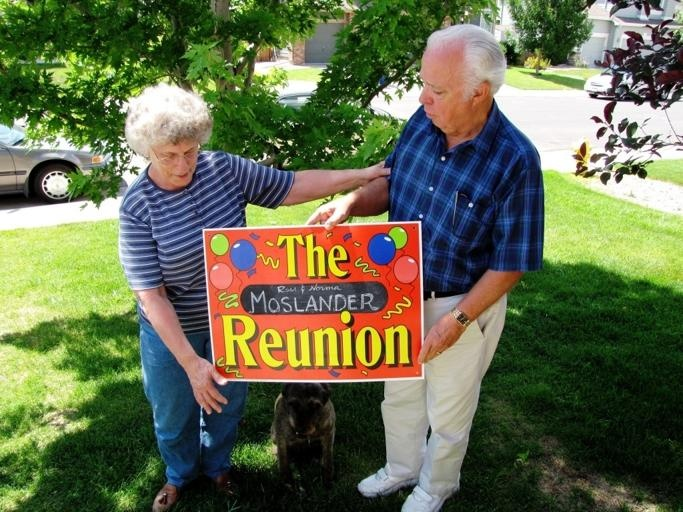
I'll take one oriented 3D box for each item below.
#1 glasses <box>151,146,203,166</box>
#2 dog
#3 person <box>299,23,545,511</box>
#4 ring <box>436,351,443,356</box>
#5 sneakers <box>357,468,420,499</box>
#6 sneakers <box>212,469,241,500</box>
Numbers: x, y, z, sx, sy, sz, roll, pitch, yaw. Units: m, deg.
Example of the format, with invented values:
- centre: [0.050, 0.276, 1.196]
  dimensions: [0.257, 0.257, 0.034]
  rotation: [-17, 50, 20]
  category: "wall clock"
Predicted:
- centre: [-0.994, -0.611, 3.415]
  dimensions: [0.283, 0.124, 0.158]
  rotation: [-4, 17, -18]
  category: "glasses"
- centre: [-0.275, 1.287, 4.500]
  dimensions: [0.553, 0.805, 1.004]
  rotation: [3, 1, -4]
  category: "dog"
- centre: [0.654, 0.228, 3.731]
  dimensions: [1.162, 3.237, 0.638]
  rotation: [6, 17, 16]
  category: "person"
- centre: [0.628, 0.628, 3.705]
  dimensions: [0.038, 0.010, 0.041]
  rotation: [-34, -1, -1]
  category: "ring"
- centre: [0.370, 1.690, 4.305]
  dimensions: [0.490, 0.183, 0.181]
  rotation: [-2, 6, -7]
  category: "sneakers"
- centre: [-0.844, 1.682, 4.191]
  dimensions: [0.092, 0.289, 0.119]
  rotation: [-4, 14, 6]
  category: "sneakers"
